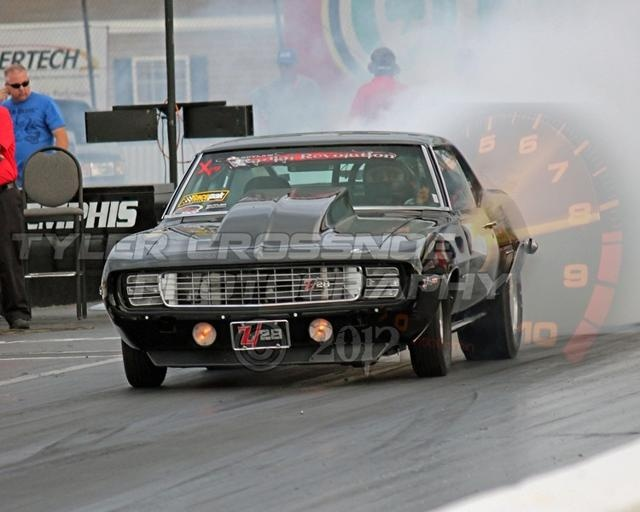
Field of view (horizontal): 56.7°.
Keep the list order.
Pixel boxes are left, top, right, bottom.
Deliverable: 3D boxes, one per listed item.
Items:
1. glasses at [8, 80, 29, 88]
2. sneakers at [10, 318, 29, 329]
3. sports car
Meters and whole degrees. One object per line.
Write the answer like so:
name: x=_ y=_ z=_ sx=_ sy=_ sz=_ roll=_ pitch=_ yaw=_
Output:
glasses: x=-4.103 y=-2.312 z=8.075 sx=0.228 sy=0.118 sz=0.143 roll=-9 pitch=20 yaw=-32
sneakers: x=-3.673 y=0.844 z=7.261 sx=0.269 sy=0.111 sz=0.094 roll=1 pitch=36 yaw=16
sports car: x=0.084 y=0.119 z=4.141 sx=2.811 sy=1.810 sz=1.892 roll=-13 pitch=23 yaw=-41
